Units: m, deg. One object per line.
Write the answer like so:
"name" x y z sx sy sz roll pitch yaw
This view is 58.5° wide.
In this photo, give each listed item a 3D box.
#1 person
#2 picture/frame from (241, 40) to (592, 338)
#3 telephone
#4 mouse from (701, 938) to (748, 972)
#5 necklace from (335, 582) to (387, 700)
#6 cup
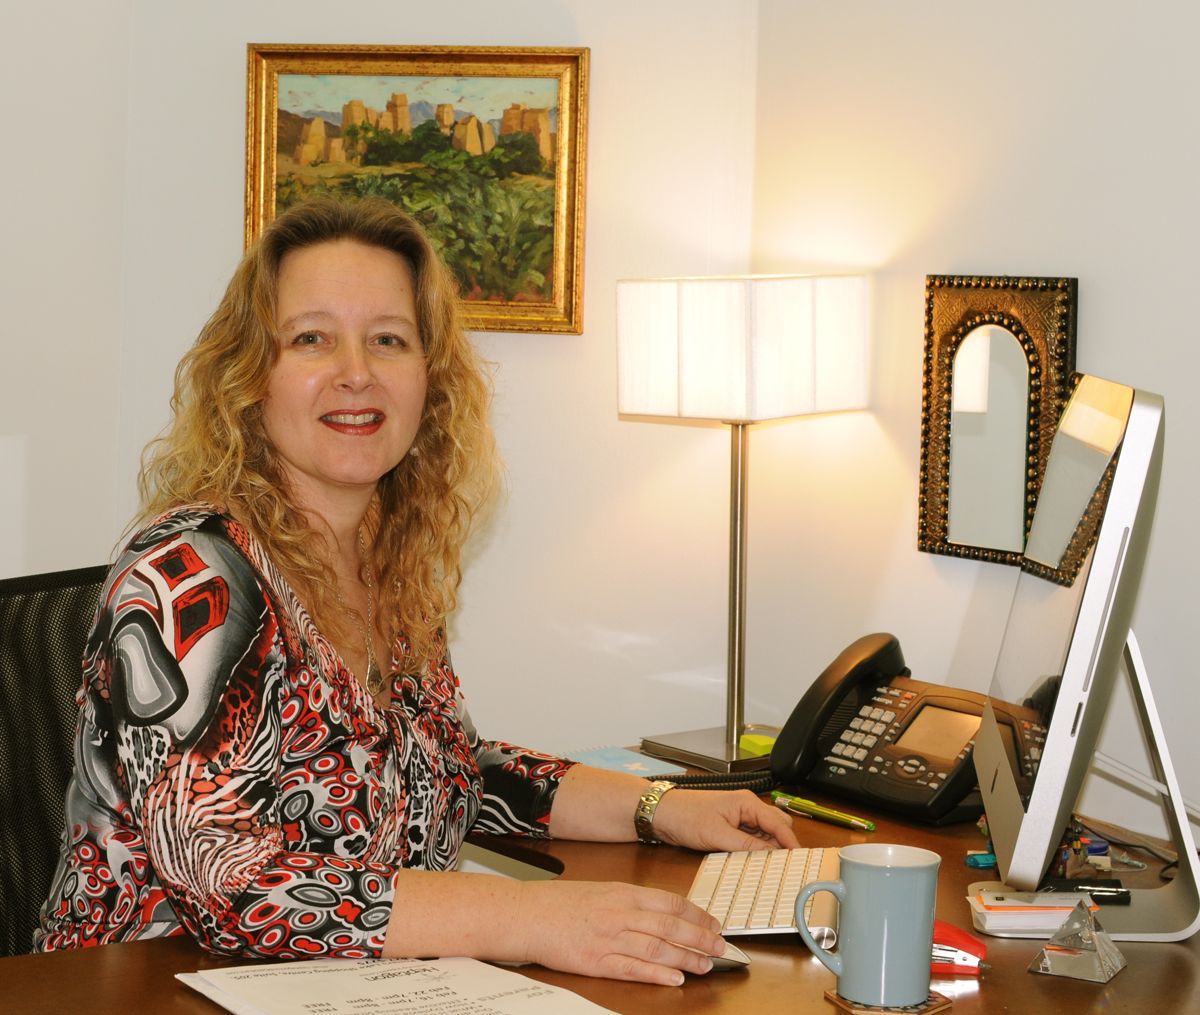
"person" -0.207 0.025 1.438 0.943 0.937 0.864 -1 1 9
"picture/frame" -0.373 -0.696 2.181 0.974 0.768 0.072 1 10 4
"telephone" 0.428 0.324 1.553 0.227 0.151 0.283 -27 19 -37
"mouse" 0.117 0.411 0.985 0.038 0.025 0.025 0 3 -16
"necklace" -0.303 0.176 1.374 0.094 0.124 0.128 -3 0 -8
"cup" 0.224 0.356 0.932 0.151 0.143 0.091 -1 4 0
